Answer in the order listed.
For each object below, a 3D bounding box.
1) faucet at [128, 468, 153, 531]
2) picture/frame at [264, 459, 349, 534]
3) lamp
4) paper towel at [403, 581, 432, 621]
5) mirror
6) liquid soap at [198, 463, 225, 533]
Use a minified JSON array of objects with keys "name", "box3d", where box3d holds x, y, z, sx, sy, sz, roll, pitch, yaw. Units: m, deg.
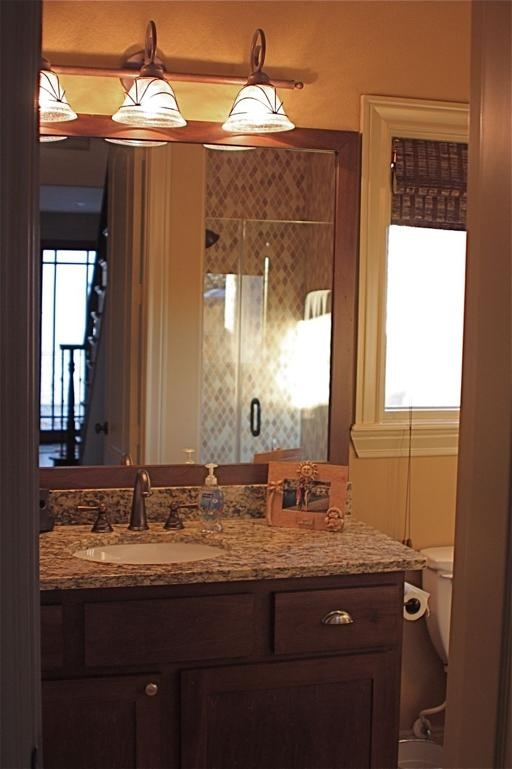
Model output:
[{"name":"faucet","box3d":[-0.290,0.290,1.933,0.051,0.150,0.083,2,0,-8]},{"name":"picture/frame","box3d":[0.128,0.292,1.977,0.145,0.147,0.023,2,-4,10]},{"name":"lamp","box3d":[-0.261,-0.778,1.930,0.728,0.299,0.182,-1,-3,-12]},{"name":"paper towel","box3d":[0.452,0.610,2.161,0.056,0.105,0.119,2,-1,36]},{"name":"mirror","box3d":[-0.184,-0.224,2.031,0.919,1.347,0.045,0,1,-14]},{"name":"liquid soap","box3d":[-0.111,0.300,1.928,0.057,0.163,0.072,2,0,-12]}]
